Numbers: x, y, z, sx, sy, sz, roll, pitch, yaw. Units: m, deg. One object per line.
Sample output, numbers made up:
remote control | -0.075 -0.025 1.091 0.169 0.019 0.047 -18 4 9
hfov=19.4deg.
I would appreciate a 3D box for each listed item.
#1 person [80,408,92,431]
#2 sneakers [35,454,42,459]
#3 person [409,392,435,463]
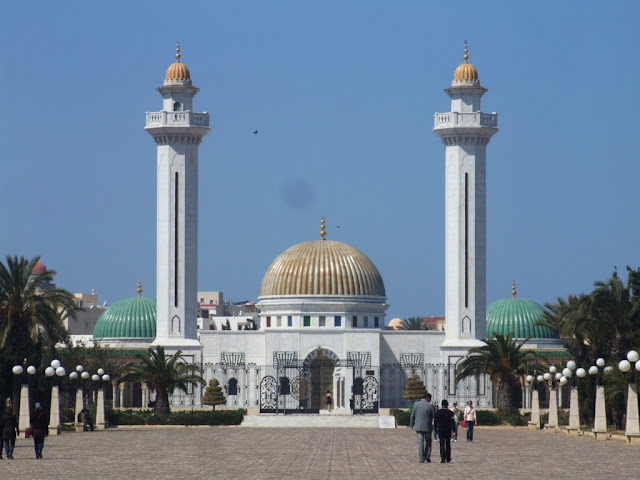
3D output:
person | -11.675 8.800 92.799 0.600 1.212 1.511 0 -10 -8
sneakers | -11.478 8.675 75.707 0.124 0.205 0.205 10 -21 -43
person | 4.080 7.345 74.089 0.890 2.657 0.875 1 -10 4
